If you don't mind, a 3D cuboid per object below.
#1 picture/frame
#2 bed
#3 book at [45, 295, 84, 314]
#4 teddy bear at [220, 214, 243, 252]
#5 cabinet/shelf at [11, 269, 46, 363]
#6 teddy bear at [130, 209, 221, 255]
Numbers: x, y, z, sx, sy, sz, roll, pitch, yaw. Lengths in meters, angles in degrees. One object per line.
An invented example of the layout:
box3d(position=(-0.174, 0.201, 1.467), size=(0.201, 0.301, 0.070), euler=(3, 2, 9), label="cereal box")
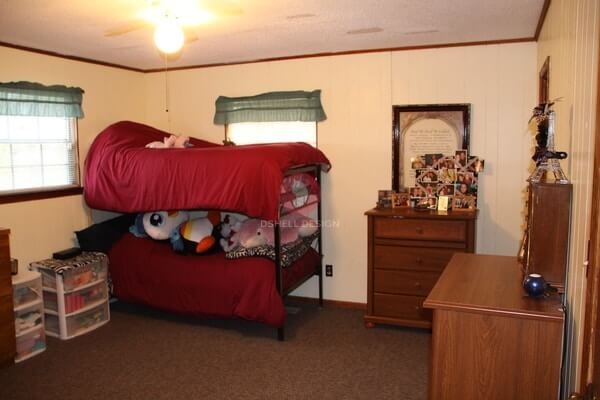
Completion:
box3d(position=(1.558, -0.637, 5.034), size=(1.110, 1.241, 0.078), euler=(1, 2, 19), label="picture/frame")
box3d(position=(-1.141, 0.217, 5.036), size=(2.364, 2.254, 0.980), euler=(4, 9, 19), label="bed")
box3d(position=(-2.539, 1.116, 4.760), size=(0.260, 0.155, 0.258), euler=(1, 2, 30), label="book")
box3d(position=(-0.887, 0.334, 5.271), size=(0.240, 0.353, 0.259), euler=(23, -3, -34), label="teddy bear")
box3d(position=(-2.786, 1.162, 4.470), size=(0.298, 0.846, 0.324), euler=(-7, 12, -43), label="cabinet/shelf")
box3d(position=(-1.377, 0.326, 5.146), size=(0.730, 0.290, 0.592), euler=(3, 9, 20), label="teddy bear")
